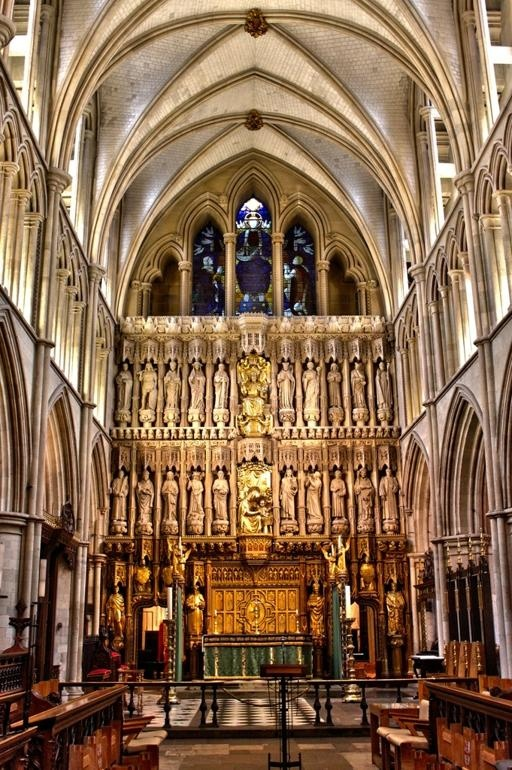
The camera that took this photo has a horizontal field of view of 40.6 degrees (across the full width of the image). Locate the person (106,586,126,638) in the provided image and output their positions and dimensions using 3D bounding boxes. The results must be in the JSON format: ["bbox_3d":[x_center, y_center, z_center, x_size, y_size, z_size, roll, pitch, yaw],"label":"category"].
[{"bbox_3d":[-3.925,6.361,19.389,0.575,1.401,0.329,6,-19,-23],"label":"person"}]

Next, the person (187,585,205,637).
[{"bbox_3d":[-1.713,6.442,19.657,0.448,1.458,0.642,-7,-18,17],"label":"person"}]

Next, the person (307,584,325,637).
[{"bbox_3d":[1.722,6.496,19.850,0.476,1.610,0.474,1,-17,-8],"label":"person"}]
